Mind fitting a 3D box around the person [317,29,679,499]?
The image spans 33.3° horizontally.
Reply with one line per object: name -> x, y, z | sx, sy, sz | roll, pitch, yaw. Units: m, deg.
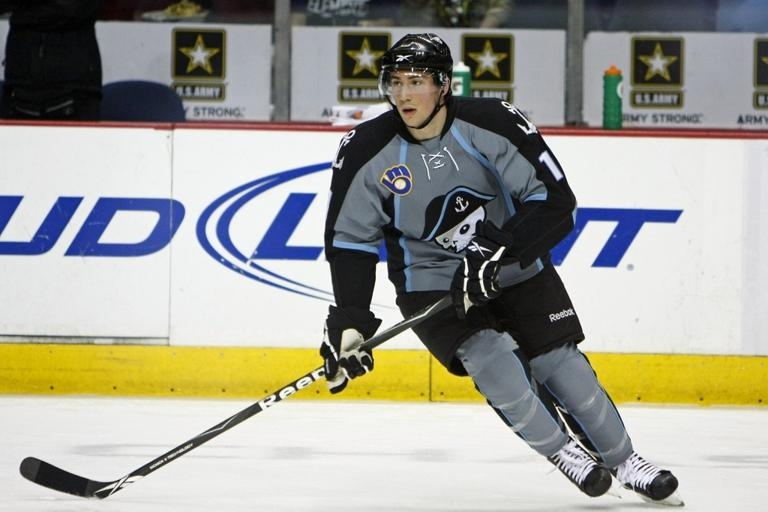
person -> 0.392, 0.020, 5.950 | 1.389, 2.103, 0.362 | 2, 6, 7

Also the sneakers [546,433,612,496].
sneakers -> 0.804, 0.979, 5.968 | 0.386, 0.139, 0.163 | 45, 10, 30

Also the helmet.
helmet -> 0.144, -0.879, 6.006 | 0.253, 0.304, 0.320 | -5, -7, 38

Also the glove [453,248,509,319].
glove -> 0.377, 0.108, 5.872 | 0.190, 0.286, 0.096 | 23, 11, 14

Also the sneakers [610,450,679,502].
sneakers -> 1.075, 1.024, 6.037 | 0.178, 0.125, 0.382 | 39, -9, -36
